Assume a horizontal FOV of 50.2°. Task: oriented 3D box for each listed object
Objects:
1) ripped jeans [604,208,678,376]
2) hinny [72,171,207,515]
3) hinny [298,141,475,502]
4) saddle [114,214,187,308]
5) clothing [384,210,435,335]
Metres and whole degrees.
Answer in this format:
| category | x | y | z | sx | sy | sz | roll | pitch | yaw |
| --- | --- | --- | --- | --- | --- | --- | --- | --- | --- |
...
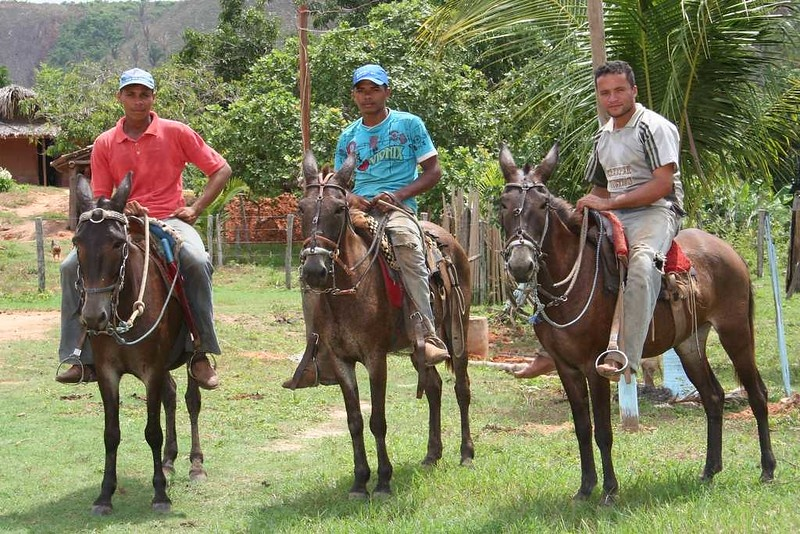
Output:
| category | x | y | z | sx | sy | sz | roll | pitch | yaw |
| --- | --- | --- | --- | --- | --- | --- | --- | --- | --- |
| ripped jeans | 2.836 | 0.102 | 9.921 | 0.592 | 2.278 | 0.812 | 0 | -5 | 37 |
| hinny | -3.184 | 0.898 | 10.396 | 0.680 | 4.074 | 1.433 | -1 | 3 | 38 |
| hinny | -0.201 | 0.635 | 10.892 | 0.968 | 4.228 | 2.704 | 0 | 3 | 45 |
| saddle | -3.062 | -0.109 | 10.703 | 0.742 | 0.937 | 0.296 | -4 | 14 | 26 |
| clothing | 0.108 | 0.115 | 10.887 | 0.396 | 1.527 | 0.801 | -11 | 20 | 15 |
